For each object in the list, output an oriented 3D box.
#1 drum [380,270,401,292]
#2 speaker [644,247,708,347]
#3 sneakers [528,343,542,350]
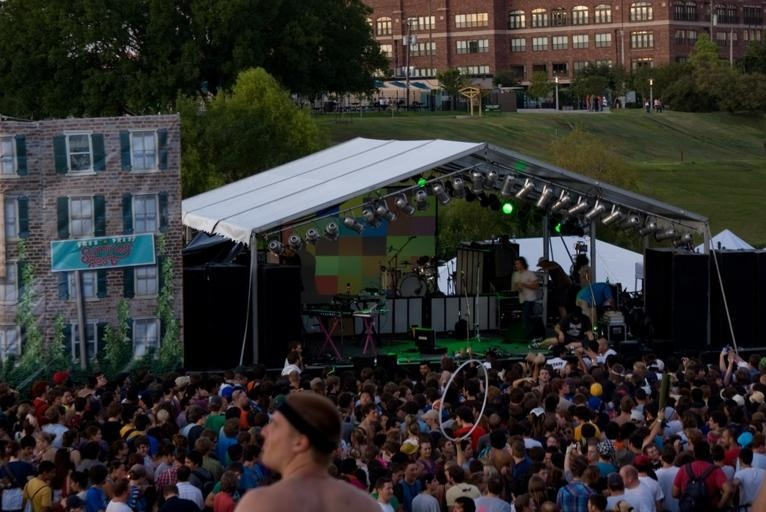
[{"bbox_3d":[0.227,0.923,55.931,0.678,0.687,0.703,1,-3,-6],"label":"drum"},{"bbox_3d":[9.366,1.451,52.479,2.048,2.677,0.739,-4,-2,11],"label":"speaker"},{"bbox_3d":[4.855,2.990,53.061,0.406,0.198,0.154,6,8,38],"label":"sneakers"}]
